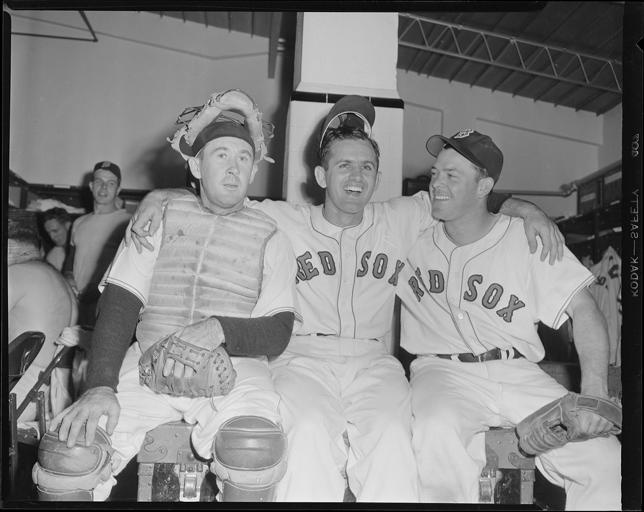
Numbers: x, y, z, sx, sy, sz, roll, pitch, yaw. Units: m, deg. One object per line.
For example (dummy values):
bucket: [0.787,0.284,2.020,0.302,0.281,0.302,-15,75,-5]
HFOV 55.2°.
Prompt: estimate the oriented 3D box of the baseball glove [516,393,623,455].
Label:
baseball glove: [1.248,0.791,3.093,0.432,0.184,0.285,-12,10,-9]

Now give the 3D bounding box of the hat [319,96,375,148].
hat: [0.215,-0.905,3.981,0.271,0.130,0.406,-23,18,31]

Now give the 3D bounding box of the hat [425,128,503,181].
hat: [0.884,-0.652,3.718,0.416,0.219,0.314,35,7,-22]

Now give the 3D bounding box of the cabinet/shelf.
cabinet/shelf: [2.896,-0.153,6.586,0.248,0.771,0.781,-1,1,-9]
